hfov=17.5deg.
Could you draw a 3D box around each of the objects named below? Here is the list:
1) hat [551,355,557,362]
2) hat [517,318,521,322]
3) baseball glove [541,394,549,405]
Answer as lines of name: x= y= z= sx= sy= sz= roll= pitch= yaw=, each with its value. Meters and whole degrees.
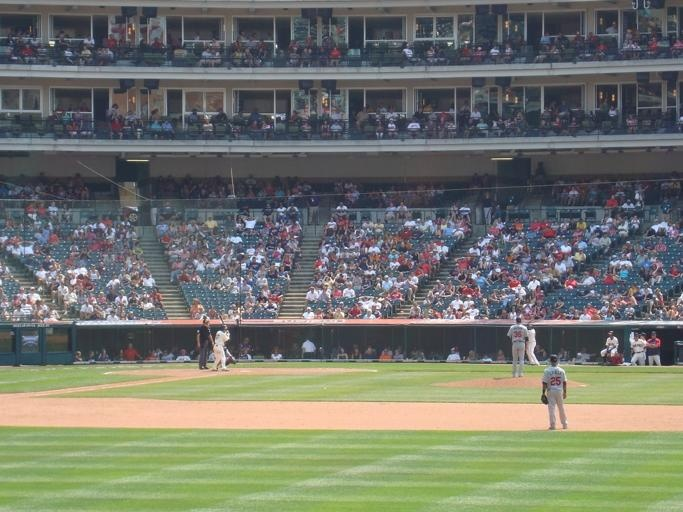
hat: x=8.460 y=4.041 z=87.318 sx=0.202 sy=0.273 sz=0.269 roll=8 pitch=42 yaw=1
hat: x=7.710 y=2.788 z=95.474 sx=0.122 sy=0.168 sz=0.165 roll=17 pitch=31 yaw=-16
baseball glove: x=8.031 y=5.687 z=87.510 sx=0.238 sy=0.399 sz=0.384 roll=-7 pitch=-9 yaw=12
